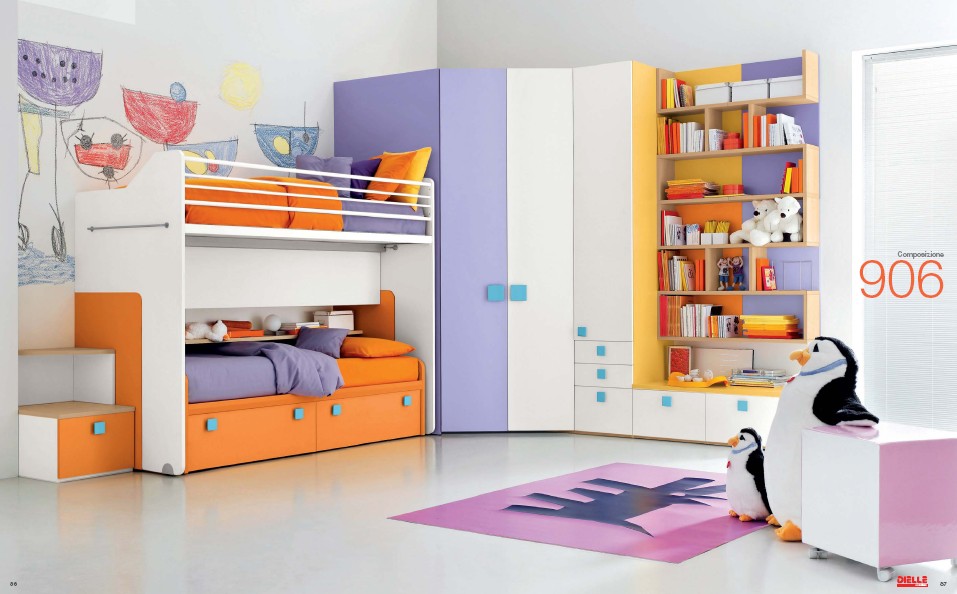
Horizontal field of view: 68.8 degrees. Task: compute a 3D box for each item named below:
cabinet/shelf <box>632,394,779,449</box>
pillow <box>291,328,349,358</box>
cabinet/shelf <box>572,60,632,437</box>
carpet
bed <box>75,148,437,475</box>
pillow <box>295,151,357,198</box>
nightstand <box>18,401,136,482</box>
[{"bbox_3d":[2.008,1.087,6.397,1.490,0.461,0.412,6,-12,-13],"label":"cabinet/shelf"},{"bbox_3d":[-1.446,0.382,6.321,0.337,0.092,0.321,3,31,11],"label":"pillow"},{"bbox_3d":[1.179,-0.468,6.554,0.563,3.432,0.315,0,3,8],"label":"cabinet/shelf"},{"bbox_3d":[0.758,1.344,4.566,2.045,0.019,1.612,0,3,12],"label":"carpet"},{"bbox_3d":[-1.844,0.100,6.066,2.724,2.452,1.038,-2,4,-36],"label":"bed"},{"bbox_3d":[-1.402,-1.177,6.505,0.494,0.438,0.268,11,17,-6],"label":"pillow"},{"bbox_3d":[-3.183,1.130,5.464,0.887,0.440,0.853,2,-5,-28],"label":"nightstand"}]
